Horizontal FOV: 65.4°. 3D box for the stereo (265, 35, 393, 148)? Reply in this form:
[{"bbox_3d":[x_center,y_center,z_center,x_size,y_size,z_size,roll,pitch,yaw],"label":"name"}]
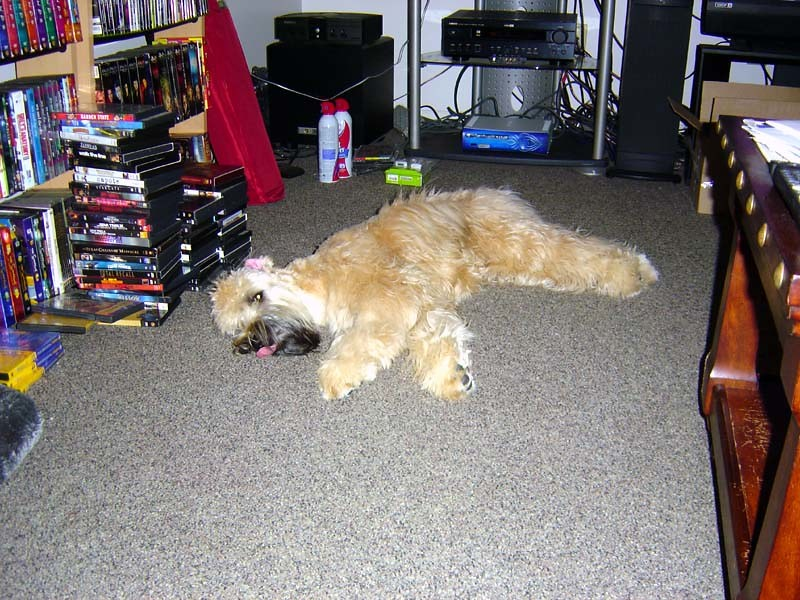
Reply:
[{"bbox_3d":[-0.379,-1.071,3.347,0.546,0.599,0.613,6,32,16],"label":"stereo"}]

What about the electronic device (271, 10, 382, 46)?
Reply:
[{"bbox_3d":[-0.353,-1.362,3.130,0.531,0.139,0.341,-3,31,-6],"label":"electronic device"}]

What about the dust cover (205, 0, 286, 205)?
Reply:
[{"bbox_3d":[-0.656,-0.775,2.508,0.155,0.662,0.623,-11,9,-4],"label":"dust cover"}]

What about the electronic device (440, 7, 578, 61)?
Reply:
[{"bbox_3d":[0.517,-1.257,2.960,0.616,0.185,0.289,7,31,11],"label":"electronic device"}]
